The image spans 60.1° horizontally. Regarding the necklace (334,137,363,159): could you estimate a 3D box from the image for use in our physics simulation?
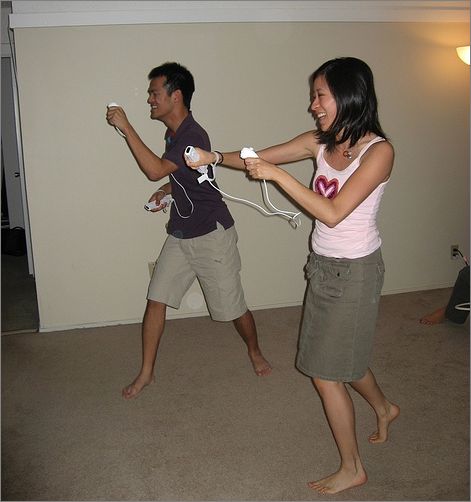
[{"bbox_3d":[0.359,-0.318,1.284,0.045,0.061,0.018,30,67,15],"label":"necklace"}]

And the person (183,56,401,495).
[{"bbox_3d":[0.351,0.107,1.442,0.538,1.448,0.592,1,12,16],"label":"person"}]
